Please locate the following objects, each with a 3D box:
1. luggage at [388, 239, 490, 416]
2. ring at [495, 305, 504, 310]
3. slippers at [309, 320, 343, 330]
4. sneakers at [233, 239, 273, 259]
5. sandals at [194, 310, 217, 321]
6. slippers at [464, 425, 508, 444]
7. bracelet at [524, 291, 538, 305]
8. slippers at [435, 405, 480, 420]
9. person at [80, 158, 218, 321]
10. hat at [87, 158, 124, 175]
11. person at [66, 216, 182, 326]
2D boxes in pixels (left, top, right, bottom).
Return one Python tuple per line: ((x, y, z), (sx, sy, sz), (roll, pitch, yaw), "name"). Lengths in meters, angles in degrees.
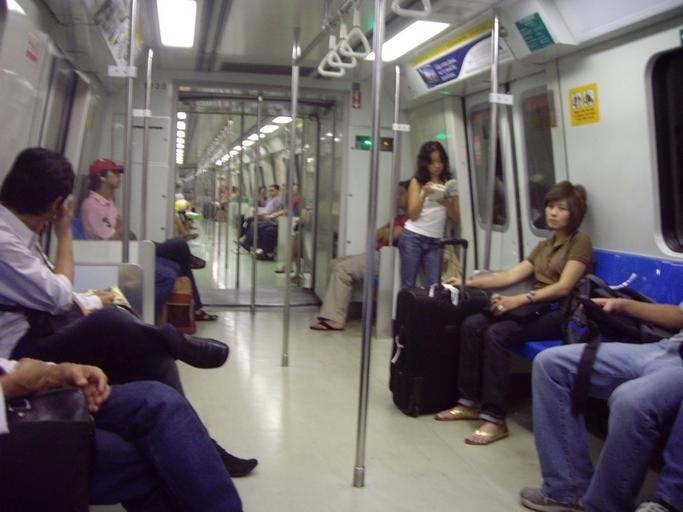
((0.768, 0.571, 4.258), (0.816, 1.332, 0.512), (-2, 10, -22), "luggage")
((1.165, 0.385, 3.847), (0.059, 0.037, 0.032), (4, 7, 19), "ring")
((-0.194, 0.896, 6.606), (0.414, 0.130, 0.155), (4, -5, -7), "slippers")
((-1.349, -0.126, 8.425), (0.601, 0.264, 0.185), (16, 11, -19), "sneakers")
((-1.773, 0.777, 6.781), (0.324, 0.137, 0.111), (0, 3, -10), "sandals")
((1.017, 1.250, 3.698), (0.263, 0.117, 0.122), (1, -4, -19), "slippers")
((1.424, 0.310, 3.938), (0.073, 0.095, 0.071), (2, -1, 9), "bracelet")
((0.906, 1.194, 4.064), (0.305, 0.128, 0.138), (3, -3, -3), "slippers")
((-1.457, -0.090, 4.007), (0.956, 1.232, 0.524), (-2, 9, -16), "person")
((-1.689, -0.630, 3.725), (0.180, 0.093, 0.126), (-4, 7, -18), "hat")
((-1.581, 0.308, 4.017), (0.680, 0.857, 0.879), (-7, -21, -6), "person")
